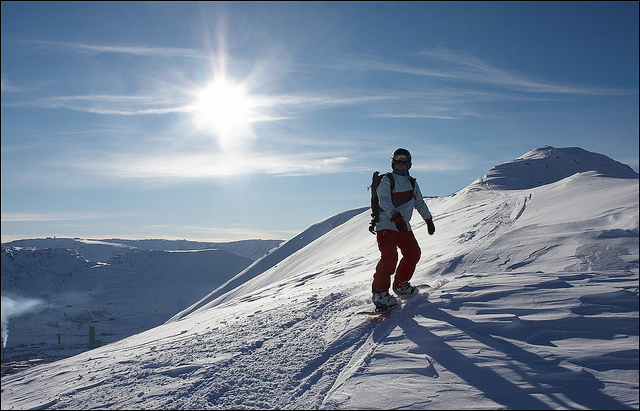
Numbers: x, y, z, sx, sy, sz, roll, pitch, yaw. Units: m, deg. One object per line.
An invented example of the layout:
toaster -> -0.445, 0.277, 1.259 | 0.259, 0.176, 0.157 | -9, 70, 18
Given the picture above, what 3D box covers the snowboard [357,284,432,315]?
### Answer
snowboard -> 1.913, 2.467, 12.342 | 2.361, 0.339, 0.672 | -13, 11, -34
